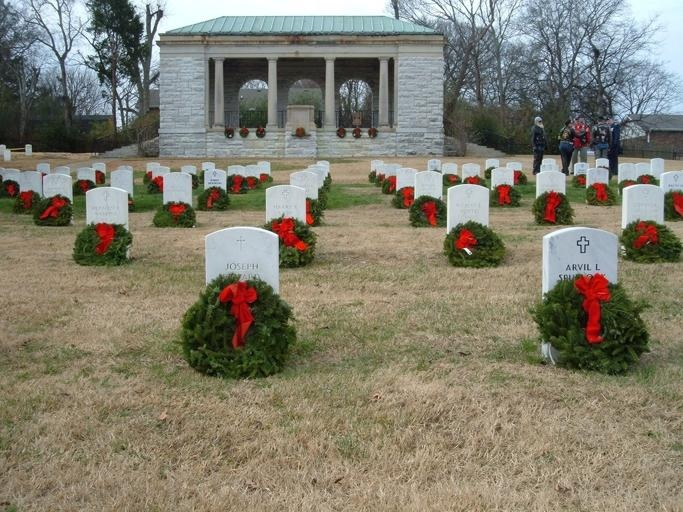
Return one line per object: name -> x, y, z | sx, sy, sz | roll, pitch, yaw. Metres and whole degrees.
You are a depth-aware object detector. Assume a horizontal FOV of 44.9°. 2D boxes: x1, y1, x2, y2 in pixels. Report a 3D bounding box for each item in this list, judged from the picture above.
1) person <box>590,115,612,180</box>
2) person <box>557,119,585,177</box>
person -> 7.292, -3.039, 23.053 | 0.537, 1.629, 1.769 | 4, 10, 17
person -> 6.680, -3.041, 23.829 | 0.696, 1.591, 2.353 | 3, 10, 14
